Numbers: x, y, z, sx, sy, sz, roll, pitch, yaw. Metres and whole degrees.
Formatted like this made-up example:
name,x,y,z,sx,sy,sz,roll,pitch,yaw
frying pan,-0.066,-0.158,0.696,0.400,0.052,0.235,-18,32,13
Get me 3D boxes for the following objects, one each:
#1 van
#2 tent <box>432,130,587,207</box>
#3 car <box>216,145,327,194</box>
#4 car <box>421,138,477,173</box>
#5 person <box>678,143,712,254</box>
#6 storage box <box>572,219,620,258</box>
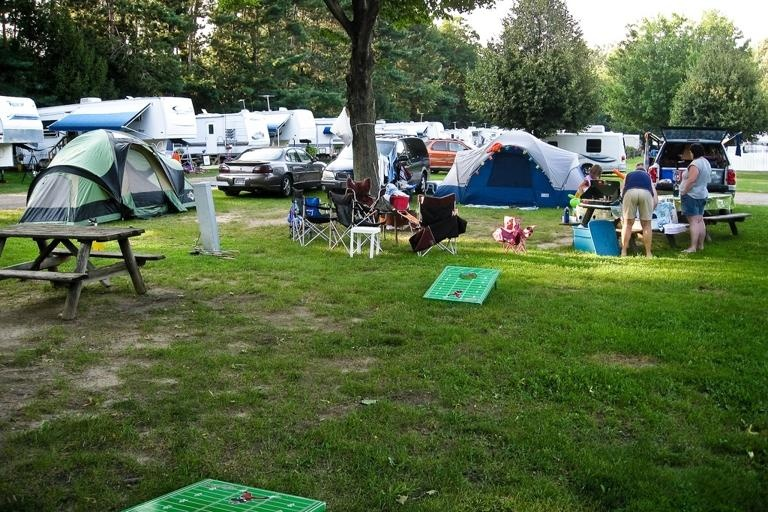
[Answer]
name,x,y,z,sx,sy,sz,roll,pitch,yaw
van,0.089,-3.022,18.378,1.915,1.386,3.370,4,9,27
tent,3.705,-2.453,16.706,3.619,2.169,0.716,3,14,11
car,-3.528,-2.642,18.635,1.397,1.478,3.175,12,18,38
car,2.861,-4.439,26.662,2.564,1.373,1.497,-5,20,1
person,5.976,-1.108,11.302,0.498,2.038,0.847,11,17,37
storage box,4.188,-0.368,11.423,0.588,0.622,0.877,-1,13,-13
